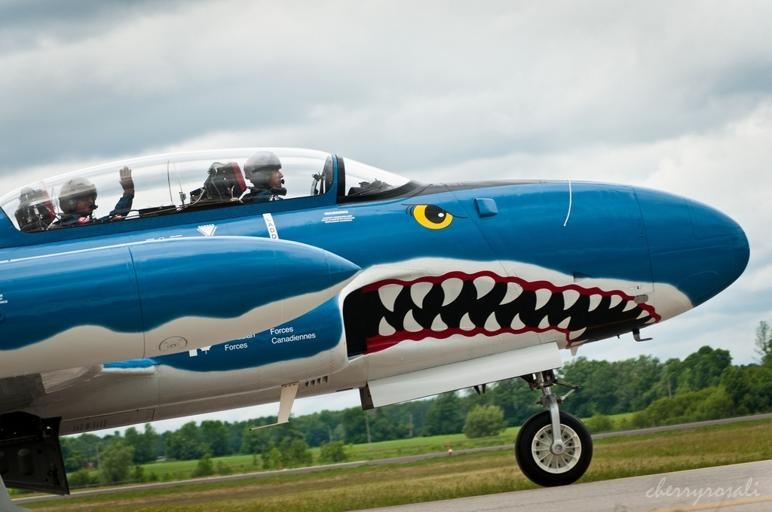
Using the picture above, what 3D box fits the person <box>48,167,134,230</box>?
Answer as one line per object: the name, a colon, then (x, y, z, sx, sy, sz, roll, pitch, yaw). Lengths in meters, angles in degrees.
person: (-5.595, -1.002, 20.201, 2.539, 0.798, 0.697, -4, 3, 27)
